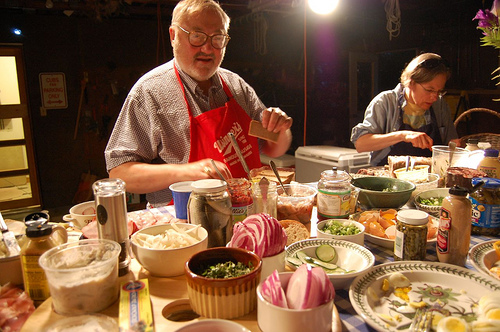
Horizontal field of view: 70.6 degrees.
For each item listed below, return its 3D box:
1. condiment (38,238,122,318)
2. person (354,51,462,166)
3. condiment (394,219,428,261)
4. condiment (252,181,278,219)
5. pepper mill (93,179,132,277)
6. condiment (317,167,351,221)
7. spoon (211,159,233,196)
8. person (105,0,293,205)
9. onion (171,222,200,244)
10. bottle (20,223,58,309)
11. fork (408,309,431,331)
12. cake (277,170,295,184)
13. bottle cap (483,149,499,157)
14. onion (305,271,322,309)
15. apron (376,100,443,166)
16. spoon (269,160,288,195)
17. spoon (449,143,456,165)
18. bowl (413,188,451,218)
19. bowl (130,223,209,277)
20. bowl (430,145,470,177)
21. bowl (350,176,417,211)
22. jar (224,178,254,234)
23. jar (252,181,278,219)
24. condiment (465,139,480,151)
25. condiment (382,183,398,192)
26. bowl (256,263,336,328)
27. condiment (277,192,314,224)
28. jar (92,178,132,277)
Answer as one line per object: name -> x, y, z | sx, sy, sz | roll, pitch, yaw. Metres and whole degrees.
condiment -> -0.698, 0.464, 1.489 | 0.305, 0.263, 0.192 | -9, 13, -26
person -> 1.696, -0.678, 3.796 | 1.135, 0.999, 0.805 | -11, 14, -35
condiment -> 0.775, 0.353, 1.723 | 0.159, 0.235, 0.152 | -3, 11, -16
condiment -> 0.079, 0.171, 1.871 | 0.170, 0.230, 0.166 | 1, -11, -2
pepper mill -> -0.619, 0.268, 1.668 | 0.177, 0.424, 0.189 | -5, 5, -31
condiment -> 0.488, 0.159, 2.058 | 0.199, 0.302, 0.190 | 2, 14, 11
spoon -> -0.161, 0.064, 1.955 | 0.027, 0.030, 0.246 | -15, 59, -21
person -> -0.338, -0.457, 2.643 | 1.339, 1.556, 0.968 | -10, 14, -31
onion -> -0.310, 0.324, 1.700 | 0.121, 0.020, 0.017 | 39, 42, 26
bottle -> -0.926, 0.440, 1.567 | 0.149, 0.358, 0.089 | -11, 15, -34
fork -> 0.659, 0.603, 1.373 | 0.035, 0.014, 0.117 | 14, 13, 19
cake -> 0.224, 0.060, 2.278 | 0.084, 0.029, 0.083 | -7, 18, -30
bottle cap -> 1.514, -0.085, 2.229 | 0.056, 0.033, 0.055 | 0, 6, 11
onion -> 0.243, 0.466, 1.329 | 0.051, 0.105, 0.093 | 2, 13, 21
apron -> 1.821, -0.367, 3.921 | 0.748, 0.722, 0.272 | -5, 12, -11
spoon -> 0.187, 0.072, 2.313 | 0.038, 0.285, 0.041 | -27, 15, -10
spoon -> 1.426, -0.094, 2.501 | 0.034, 0.150, 0.055 | 4, 14, 30
bowl -> 1.144, 0.216, 2.241 | 0.238, 0.090, 0.233 | -5, 14, 1
bowl -> -0.381, 0.396, 1.688 | 0.285, 0.135, 0.290 | 4, 0, 0
bowl -> 1.441, -0.058, 2.567 | 0.233, 0.183, 0.225 | 3, 10, -1
bowl -> 0.817, 0.178, 2.239 | 0.368, 0.187, 0.366 | -2, 12, 0
jar -> -0.063, 0.226, 1.907 | 0.174, 0.280, 0.167 | -2, 11, 0
jar -> 0.084, 0.180, 1.924 | 0.100, 0.182, 0.125 | -3, 12, -27
condiment -> 1.578, -0.150, 2.511 | 0.086, 0.091, 0.083 | 0, 0, 16
condiment -> 0.885, 0.130, 2.253 | 0.059, 0.024, 0.058 | -2, 5, -7
bowl -> 0.178, 0.506, 1.326 | 0.269, 0.183, 0.267 | -1, 8, 0
condiment -> 0.259, 0.218, 2.035 | 0.153, 0.161, 0.182 | -6, 18, -35
jar -> -0.641, 0.289, 1.664 | 0.163, 0.450, 0.159 | -2, 6, 0
